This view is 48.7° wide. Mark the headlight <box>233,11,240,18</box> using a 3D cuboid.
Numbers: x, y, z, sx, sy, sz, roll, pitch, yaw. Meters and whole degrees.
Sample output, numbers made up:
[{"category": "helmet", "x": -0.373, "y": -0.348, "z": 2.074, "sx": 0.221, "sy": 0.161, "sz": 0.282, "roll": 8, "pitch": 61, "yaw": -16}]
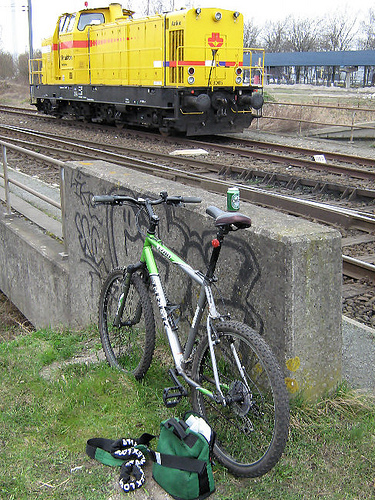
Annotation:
[{"category": "headlight", "x": 1.746, "y": -8.362, "z": 14.724, "sx": 0.285, "sy": 0.136, "sz": 0.142, "roll": -16, "pitch": 12, "yaw": -35}]

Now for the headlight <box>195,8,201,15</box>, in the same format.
[{"category": "headlight", "x": 0.358, "y": -7.893, "z": 13.703, "sx": 0.157, "sy": 0.207, "sz": 0.102, "roll": -13, "pitch": 29, "yaw": -44}]

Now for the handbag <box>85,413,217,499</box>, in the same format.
[{"category": "handbag", "x": -0.127, "y": 0.881, "z": 1.722, "sx": 0.384, "sy": 0.198, "sz": 0.363, "roll": -6, "pitch": 19, "yaw": -18}]

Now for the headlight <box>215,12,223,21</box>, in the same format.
[{"category": "headlight", "x": 1.087, "y": -8.053, "z": 14.290, "sx": 0.140, "sy": 0.239, "sz": 0.451, "roll": -3, "pitch": 11, "yaw": 25}]

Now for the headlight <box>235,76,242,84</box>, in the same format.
[{"category": "headlight", "x": 1.874, "y": -6.262, "z": 15.263, "sx": 0.241, "sy": 0.271, "sz": 0.127, "roll": -6, "pitch": 9, "yaw": 7}]

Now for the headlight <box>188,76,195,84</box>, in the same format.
[{"category": "headlight", "x": 0.126, "y": -5.790, "z": 14.136, "sx": 0.198, "sy": 0.218, "sz": 0.074, "roll": 13, "pitch": -33, "yaw": -36}]

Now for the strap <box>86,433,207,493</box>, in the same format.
[{"category": "strap", "x": -0.237, "y": 0.943, "z": 1.867, "sx": 0.385, "sy": 0.093, "sz": 0.253, "roll": 5, "pitch": 6, "yaw": 41}]

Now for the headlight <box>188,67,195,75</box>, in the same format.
[{"category": "headlight", "x": 0.143, "y": -6.079, "z": 14.063, "sx": 0.241, "sy": 0.228, "sz": 0.091, "roll": -16, "pitch": 13, "yaw": -39}]
